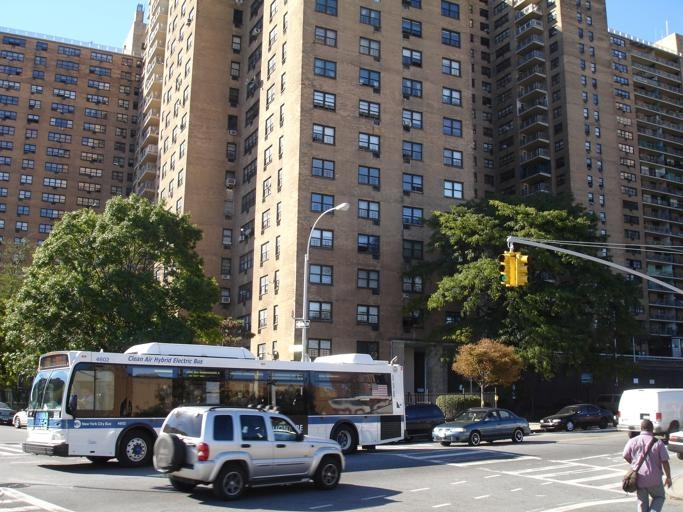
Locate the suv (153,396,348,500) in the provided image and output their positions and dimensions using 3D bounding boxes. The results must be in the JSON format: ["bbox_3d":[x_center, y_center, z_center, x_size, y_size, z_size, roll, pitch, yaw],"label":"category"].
[{"bbox_3d":[-4.781,9.217,42.982,8.199,3.572,3.794,2,-7,-32],"label":"suv"}]
